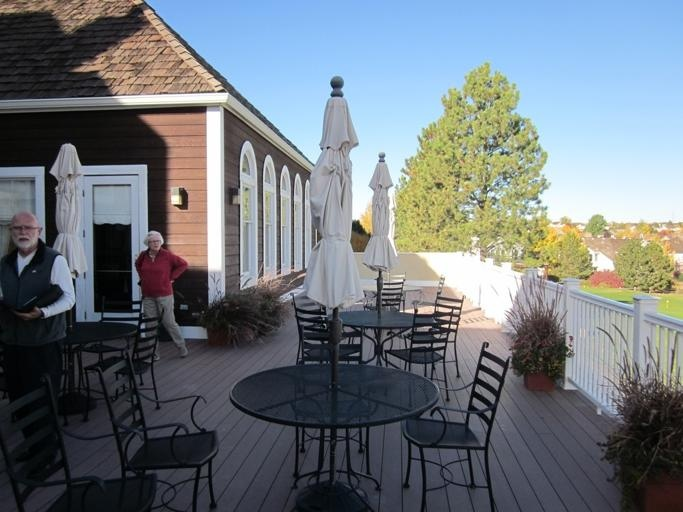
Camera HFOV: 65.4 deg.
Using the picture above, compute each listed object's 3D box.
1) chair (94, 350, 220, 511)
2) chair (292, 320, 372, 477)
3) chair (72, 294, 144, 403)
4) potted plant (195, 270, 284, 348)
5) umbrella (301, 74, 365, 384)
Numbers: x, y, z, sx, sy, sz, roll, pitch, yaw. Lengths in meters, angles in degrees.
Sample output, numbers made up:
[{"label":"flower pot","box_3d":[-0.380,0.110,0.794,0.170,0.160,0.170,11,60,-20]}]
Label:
[{"label":"chair","box_3d":[-1.806,1.720,5.140,0.977,1.841,0.979,-2,6,3]},{"label":"chair","box_3d":[-0.188,1.381,5.896,0.973,2.248,1.277,0,-2,-3]},{"label":"chair","box_3d":[-2.959,1.175,6.700,1.030,1.358,1.170,3,1,-19]},{"label":"potted plant","box_3d":[-1.712,0.934,9.305,0.906,0.638,1.056,-12,-1,27]},{"label":"umbrella","box_3d":[-0.067,-0.292,4.969,0.537,2.796,0.679,1,3,-1]}]
